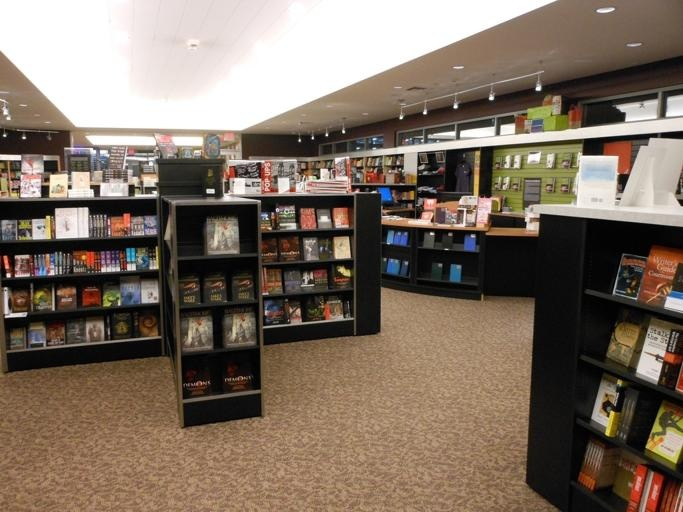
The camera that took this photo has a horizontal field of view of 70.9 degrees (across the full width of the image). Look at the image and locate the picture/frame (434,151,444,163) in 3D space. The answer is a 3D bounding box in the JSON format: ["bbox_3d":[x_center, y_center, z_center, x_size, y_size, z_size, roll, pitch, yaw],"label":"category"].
[{"bbox_3d":[2.821,-2.938,13.909,0.057,0.422,0.385,1,1,-25],"label":"picture/frame"}]

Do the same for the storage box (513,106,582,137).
[{"bbox_3d":[4.383,-2.873,10.140,0.566,0.500,1.086,-2,5,-25],"label":"storage box"}]

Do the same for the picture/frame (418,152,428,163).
[{"bbox_3d":[2.458,-3.035,14.526,0.043,0.405,0.356,-3,4,-42],"label":"picture/frame"}]
